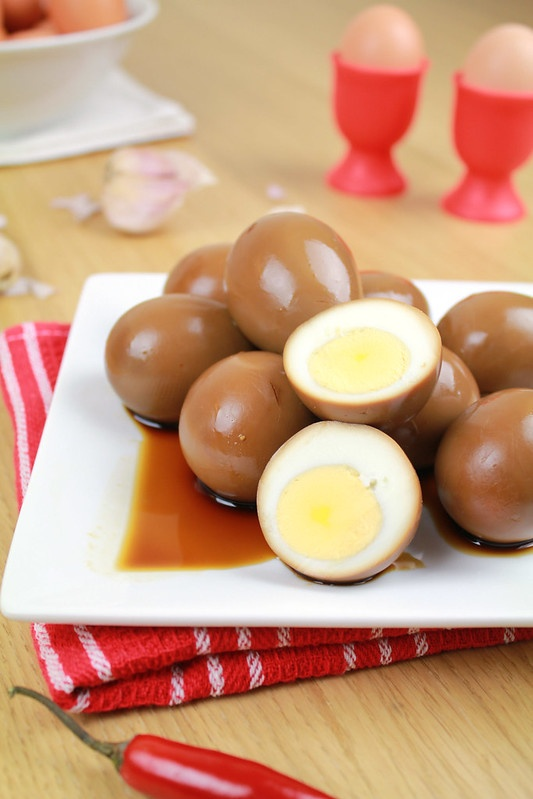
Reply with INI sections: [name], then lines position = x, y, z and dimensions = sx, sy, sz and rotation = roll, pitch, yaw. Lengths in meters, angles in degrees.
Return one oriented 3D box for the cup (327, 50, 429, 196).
[cup]
position = 0.135, -0.350, 0.928
dimensions = 0.113, 0.200, 0.141
rotation = -6, 43, 2
